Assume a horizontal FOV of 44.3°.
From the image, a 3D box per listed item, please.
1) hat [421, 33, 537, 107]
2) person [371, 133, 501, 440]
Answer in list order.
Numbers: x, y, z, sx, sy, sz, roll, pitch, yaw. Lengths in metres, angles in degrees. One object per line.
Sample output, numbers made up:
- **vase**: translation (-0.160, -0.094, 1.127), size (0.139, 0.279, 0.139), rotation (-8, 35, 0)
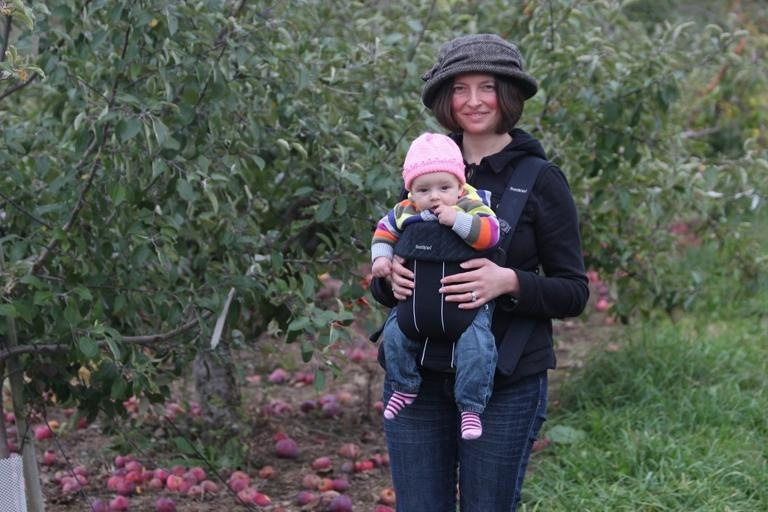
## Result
- **hat**: translation (0.474, -0.972, 5.103), size (0.610, 0.267, 0.619), rotation (-5, -13, 14)
- **person**: translation (0.281, 0.160, 4.872), size (0.660, 1.585, 0.264), rotation (-2, -2, 5)
